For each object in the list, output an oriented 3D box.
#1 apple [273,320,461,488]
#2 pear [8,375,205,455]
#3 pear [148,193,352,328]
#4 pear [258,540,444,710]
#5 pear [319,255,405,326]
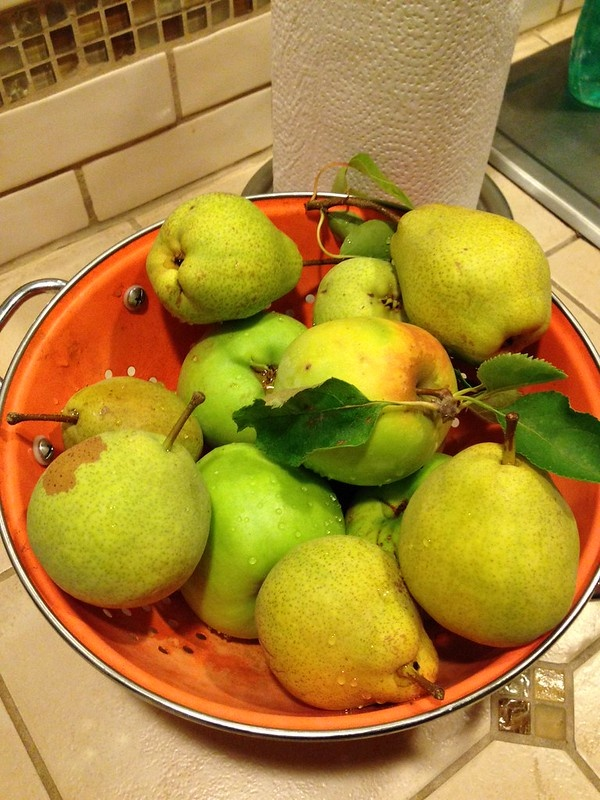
[{"bbox_3d":[0.036,0.005,0.432,0.103,0.091,0.084,7,53,2],"label":"apple"},{"bbox_3d":[-0.117,0.020,0.465,0.103,0.043,0.047,11,30,-15],"label":"pear"},{"bbox_3d":[-0.034,-0.072,0.505,0.140,0.082,0.084,-5,85,-25],"label":"pear"},{"bbox_3d":[0.019,0.109,0.371,0.074,0.049,0.085,-6,52,-7],"label":"pear"},{"bbox_3d":[0.039,-0.070,0.506,0.052,0.045,0.049,10,12,5],"label":"pear"}]
